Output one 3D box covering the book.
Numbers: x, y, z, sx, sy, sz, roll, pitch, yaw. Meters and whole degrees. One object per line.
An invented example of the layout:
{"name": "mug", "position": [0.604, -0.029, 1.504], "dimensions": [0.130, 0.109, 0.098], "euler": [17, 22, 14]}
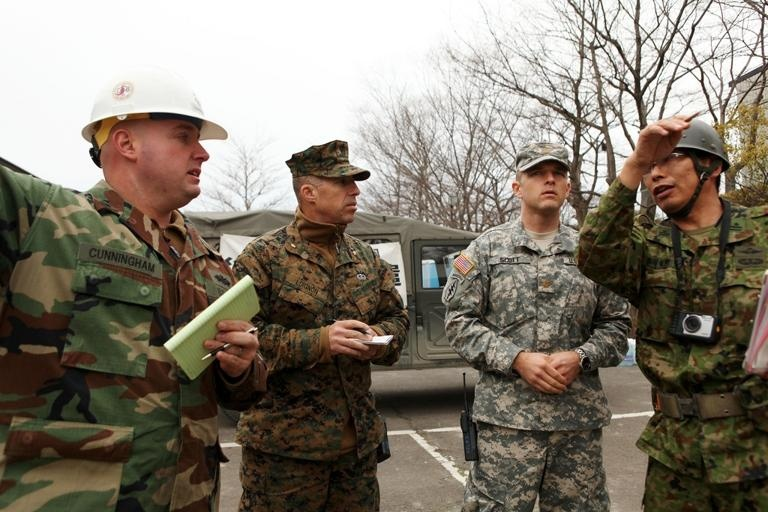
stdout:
{"name": "book", "position": [-0.754, 0.316, 2.546], "dimensions": [0.528, 0.289, 0.083], "euler": [-40, 59, -18]}
